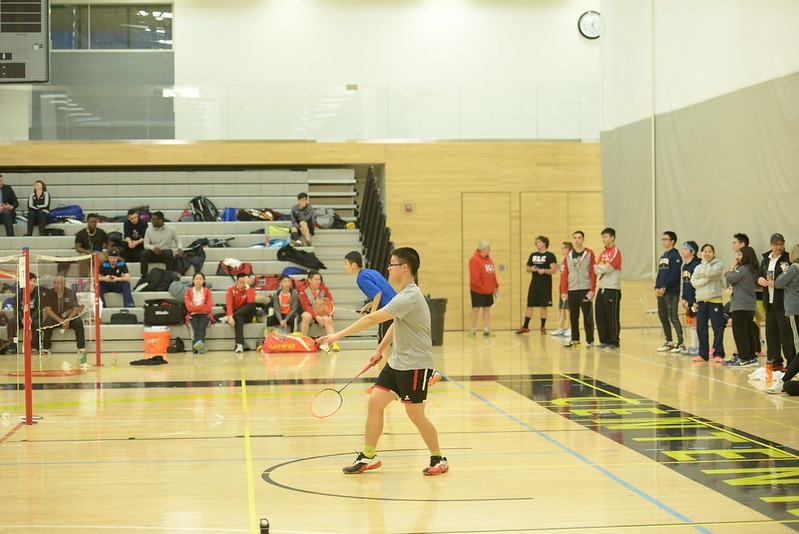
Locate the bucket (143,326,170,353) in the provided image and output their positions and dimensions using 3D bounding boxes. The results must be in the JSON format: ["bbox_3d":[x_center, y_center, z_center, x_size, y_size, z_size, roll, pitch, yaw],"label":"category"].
[{"bbox_3d":[-4.762,1.428,18.116,0.533,0.499,0.454,-1,0,-2],"label":"bucket"}]

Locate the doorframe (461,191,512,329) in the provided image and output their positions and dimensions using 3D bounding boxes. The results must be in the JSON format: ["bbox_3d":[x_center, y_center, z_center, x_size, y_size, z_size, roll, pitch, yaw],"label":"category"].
[{"bbox_3d":[2.183,-0.536,22.081,1.150,3.179,0.341,0,39,11],"label":"doorframe"}]

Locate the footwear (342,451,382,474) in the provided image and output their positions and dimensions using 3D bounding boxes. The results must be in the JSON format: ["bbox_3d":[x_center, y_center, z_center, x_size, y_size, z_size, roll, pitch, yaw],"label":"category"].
[{"bbox_3d":[-0.453,2.457,11.627,0.590,0.269,0.191,-2,-4,-11],"label":"footwear"}]

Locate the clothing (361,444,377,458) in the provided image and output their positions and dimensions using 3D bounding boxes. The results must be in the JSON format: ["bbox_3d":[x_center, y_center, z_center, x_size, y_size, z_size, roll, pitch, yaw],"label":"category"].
[{"bbox_3d":[-0.393,2.271,11.526,0.171,0.199,0.106,1,11,9],"label":"clothing"}]

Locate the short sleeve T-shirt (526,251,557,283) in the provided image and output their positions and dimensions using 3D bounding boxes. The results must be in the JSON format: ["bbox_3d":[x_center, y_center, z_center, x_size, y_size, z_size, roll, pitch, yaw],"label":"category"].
[{"bbox_3d":[3.188,0.000,20.662,0.726,0.675,0.405,-1,-5,30],"label":"short sleeve T-shirt"}]

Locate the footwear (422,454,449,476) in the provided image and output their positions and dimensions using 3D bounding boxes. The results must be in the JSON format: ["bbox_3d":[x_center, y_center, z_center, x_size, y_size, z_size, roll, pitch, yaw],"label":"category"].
[{"bbox_3d":[0.444,2.467,11.472,0.167,0.160,0.339,-6,-10,33],"label":"footwear"}]

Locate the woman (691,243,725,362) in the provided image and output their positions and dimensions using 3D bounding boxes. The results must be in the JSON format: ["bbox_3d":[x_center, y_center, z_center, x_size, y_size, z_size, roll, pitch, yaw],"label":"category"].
[{"bbox_3d":[5.597,0.650,16.730,0.635,2.171,0.607,6,-8,-32],"label":"woman"}]

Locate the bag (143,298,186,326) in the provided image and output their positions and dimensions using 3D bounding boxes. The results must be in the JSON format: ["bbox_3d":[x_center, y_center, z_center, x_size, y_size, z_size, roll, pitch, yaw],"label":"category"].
[{"bbox_3d":[-4.680,0.923,18.611,0.711,0.482,0.550,0,5,2],"label":"bag"}]

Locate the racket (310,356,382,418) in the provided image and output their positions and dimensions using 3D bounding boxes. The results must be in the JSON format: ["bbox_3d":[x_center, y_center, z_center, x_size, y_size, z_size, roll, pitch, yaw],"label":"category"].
[{"bbox_3d":[-0.846,1.879,14.160,1.506,0.065,0.595,-38,63,-24],"label":"racket"}]

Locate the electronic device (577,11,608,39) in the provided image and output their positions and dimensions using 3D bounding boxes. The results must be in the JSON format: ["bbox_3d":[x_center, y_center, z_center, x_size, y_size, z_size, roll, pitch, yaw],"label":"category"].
[{"bbox_3d":[5.203,-6.603,25.223,0.669,0.819,0.199,-4,12,-15],"label":"electronic device"}]

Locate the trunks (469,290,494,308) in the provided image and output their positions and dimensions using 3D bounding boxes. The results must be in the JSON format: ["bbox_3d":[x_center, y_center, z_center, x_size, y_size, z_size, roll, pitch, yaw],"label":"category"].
[{"bbox_3d":[1.791,0.725,20.318,0.585,0.533,0.334,1,-2,-11],"label":"trunks"}]

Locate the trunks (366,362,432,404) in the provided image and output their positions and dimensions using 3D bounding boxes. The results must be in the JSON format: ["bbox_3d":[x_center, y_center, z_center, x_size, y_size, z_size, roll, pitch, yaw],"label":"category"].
[{"bbox_3d":[0.002,1.463,11.408,0.442,0.539,0.744,32,-24,-25],"label":"trunks"}]

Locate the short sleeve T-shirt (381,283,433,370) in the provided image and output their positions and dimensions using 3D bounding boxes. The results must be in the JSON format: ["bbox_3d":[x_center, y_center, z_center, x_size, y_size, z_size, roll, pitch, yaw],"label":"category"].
[{"bbox_3d":[-0.020,0.726,11.778,0.910,1.243,1.018,2,1,5],"label":"short sleeve T-shirt"}]

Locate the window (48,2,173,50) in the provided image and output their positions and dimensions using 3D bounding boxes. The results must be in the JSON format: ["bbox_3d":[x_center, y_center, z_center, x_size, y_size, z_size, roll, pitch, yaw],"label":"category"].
[{"bbox_3d":[-7.744,-6.377,24.582,3.172,1.358,0.103,0,-4,-3],"label":"window"}]
